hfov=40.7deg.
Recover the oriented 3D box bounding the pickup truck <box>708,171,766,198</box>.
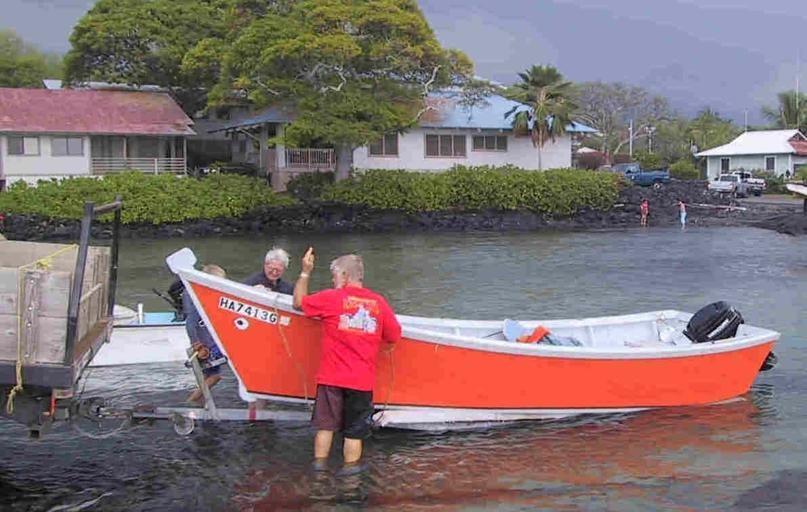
[{"bbox_3d":[20.352,-4.418,66.982,3.116,1.065,1.754,-10,14,-35],"label":"pickup truck"}]

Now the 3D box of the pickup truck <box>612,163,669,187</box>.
[{"bbox_3d":[15.073,-5.111,68.891,3.615,1.078,1.692,-1,4,-17],"label":"pickup truck"}]

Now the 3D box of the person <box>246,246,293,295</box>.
[{"bbox_3d":[-4.052,0.467,32.787,1.728,1.317,0.925,3,8,-27],"label":"person"}]
